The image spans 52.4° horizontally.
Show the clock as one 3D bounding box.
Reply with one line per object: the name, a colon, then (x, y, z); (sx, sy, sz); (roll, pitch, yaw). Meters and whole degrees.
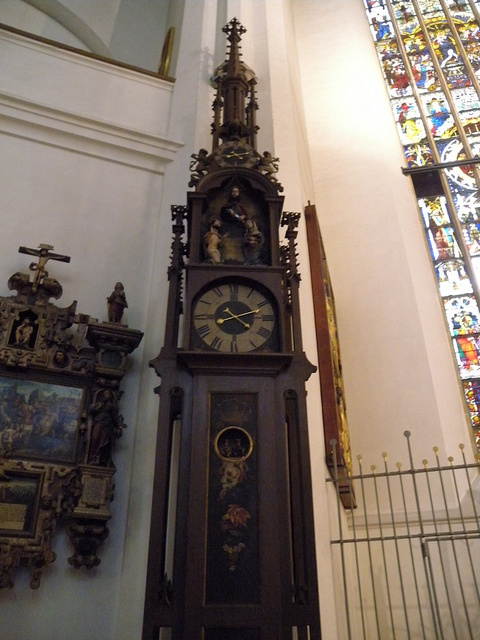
clock: (-0.048, 0.005, 2.773); (0.434, 0.482, 0.048); (1, -39, -6)
